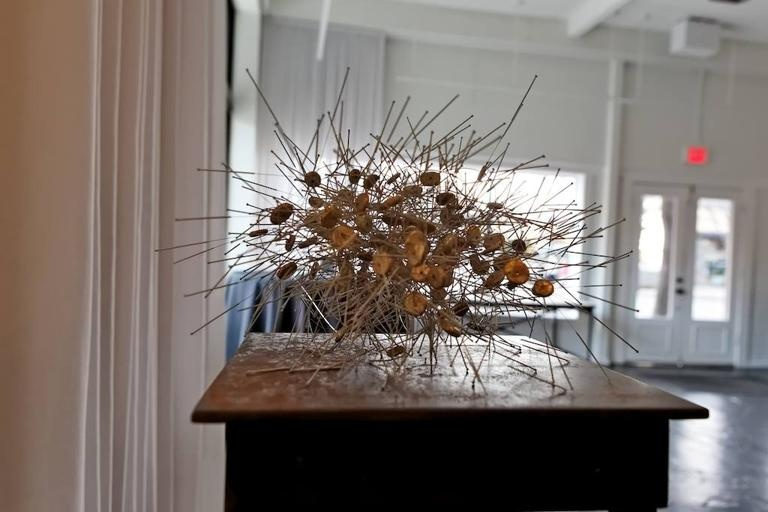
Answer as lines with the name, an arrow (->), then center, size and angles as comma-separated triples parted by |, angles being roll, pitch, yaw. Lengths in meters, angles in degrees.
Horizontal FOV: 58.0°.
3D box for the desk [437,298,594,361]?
desk -> 0.535, 0.279, 2.678 | 0.541, 0.272, 0.284 | 1, -6, 1
